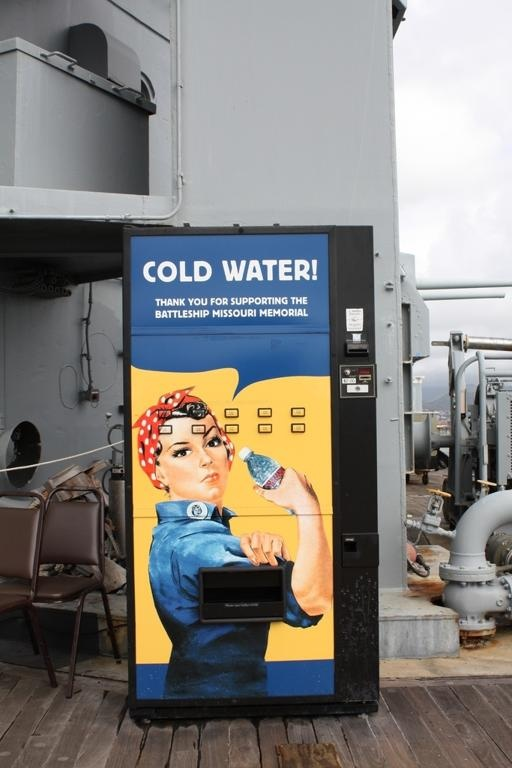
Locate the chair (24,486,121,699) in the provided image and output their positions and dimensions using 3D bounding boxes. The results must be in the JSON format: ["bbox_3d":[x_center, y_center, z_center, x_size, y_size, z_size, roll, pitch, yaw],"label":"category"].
[{"bbox_3d":[-1.080,1.070,3.549,0.575,0.954,0.589,-1,-4,-5],"label":"chair"}]
